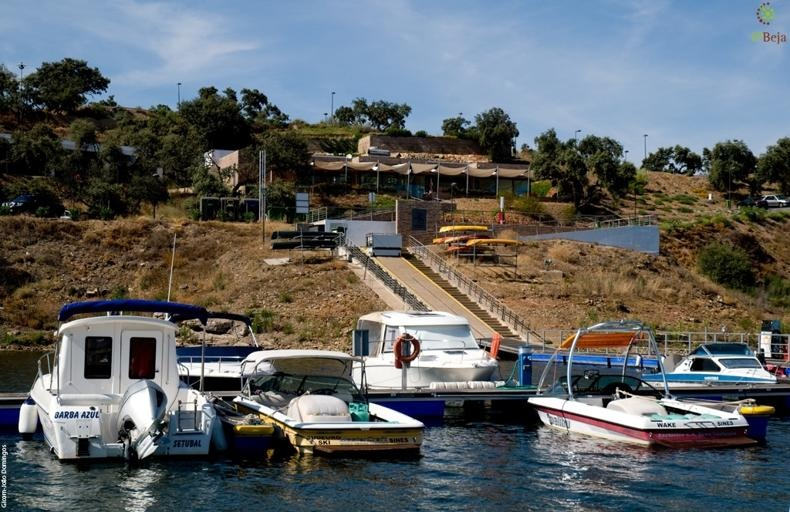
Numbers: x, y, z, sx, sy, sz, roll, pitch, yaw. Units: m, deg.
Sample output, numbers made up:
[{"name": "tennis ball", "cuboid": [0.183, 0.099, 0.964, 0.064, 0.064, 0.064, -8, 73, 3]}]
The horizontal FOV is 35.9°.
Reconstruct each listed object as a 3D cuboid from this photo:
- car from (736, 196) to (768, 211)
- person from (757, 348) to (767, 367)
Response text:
[{"name": "car", "cuboid": [37.262, -5.477, 127.011, 1.457, 1.079, 3.072, -1, 8, -5]}, {"name": "person", "cuboid": [22.634, 6.125, 75.259, 0.556, 0.690, 2.267, -2, 18, 9]}]
